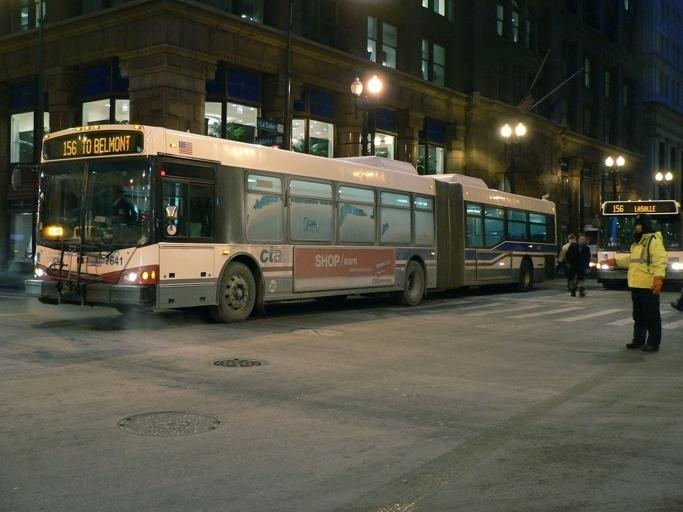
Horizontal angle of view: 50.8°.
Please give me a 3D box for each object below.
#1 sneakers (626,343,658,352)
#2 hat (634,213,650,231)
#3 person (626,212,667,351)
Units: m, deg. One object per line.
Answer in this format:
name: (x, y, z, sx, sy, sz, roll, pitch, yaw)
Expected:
sneakers: (5.156, 1.580, 12.395, 0.322, 0.071, 0.192, 4, -6, 45)
hat: (5.335, -0.576, 12.706, 0.289, 0.307, 0.244, 10, -4, -10)
person: (5.269, 0.467, 12.476, 0.598, 2.333, 0.735, 2, 3, 22)
